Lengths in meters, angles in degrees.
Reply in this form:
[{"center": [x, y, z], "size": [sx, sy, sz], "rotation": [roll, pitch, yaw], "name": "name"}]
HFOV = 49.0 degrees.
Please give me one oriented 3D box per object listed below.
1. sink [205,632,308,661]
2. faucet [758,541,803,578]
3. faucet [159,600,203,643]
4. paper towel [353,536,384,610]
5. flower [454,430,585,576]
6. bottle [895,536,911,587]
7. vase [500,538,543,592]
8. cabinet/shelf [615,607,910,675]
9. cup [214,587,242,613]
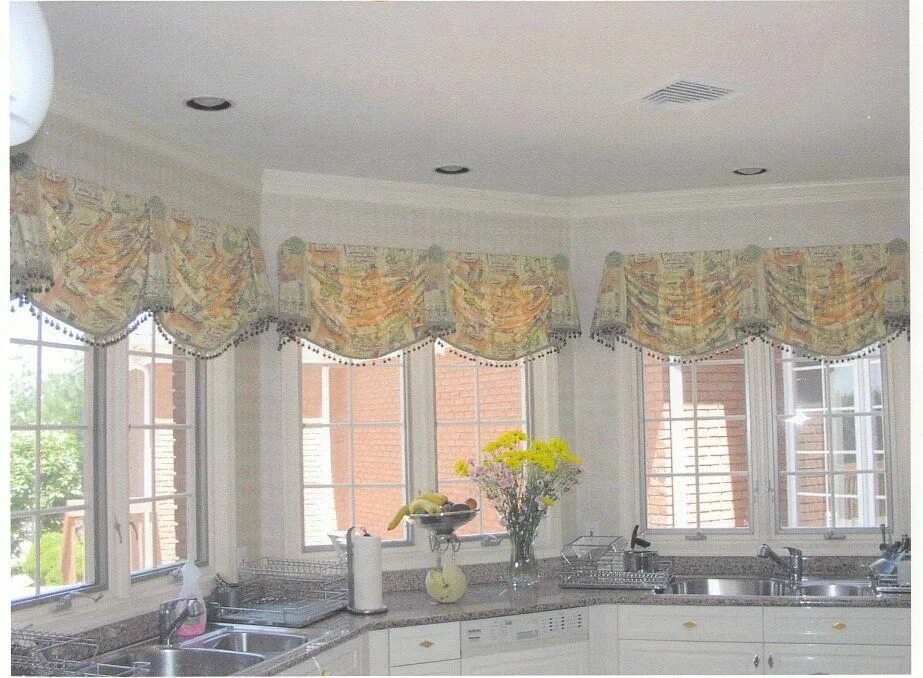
[{"center": [-0.952, 1.421, 4.747], "size": [0.231, 0.085, 0.186], "rotation": [-2, -6, 29], "name": "sink"}, {"center": [1.863, 1.290, 5.891], "size": [0.248, 0.192, 0.339], "rotation": [-5, -9, 16], "name": "faucet"}, {"center": [-1.295, 1.316, 4.776], "size": [0.123, 0.196, 0.296], "rotation": [-6, -9, 21], "name": "faucet"}, {"center": [-0.480, 1.207, 5.232], "size": [0.180, 0.389, 0.146], "rotation": [2, -10, -25], "name": "paper towel"}, {"center": [0.348, 0.937, 6.037], "size": [0.779, 0.840, 0.813], "rotation": [-1, -4, 26], "name": "flower"}, {"center": [2.418, 1.219, 5.535], "size": [0.077, 0.246, 0.252], "rotation": [-7, -10, 24], "name": "bottle"}, {"center": [0.341, 1.299, 5.859], "size": [0.230, 0.268, 0.441], "rotation": [-3, -9, 3], "name": "vase"}, {"center": [1.585, 1.577, 5.337], "size": [1.513, 0.382, 0.117], "rotation": [-3, -9, 3], "name": "cabinet/shelf"}, {"center": [-1.203, 1.314, 5.152], "size": [0.137, 0.097, 0.124], "rotation": [-3, -9, 0], "name": "cup"}]
